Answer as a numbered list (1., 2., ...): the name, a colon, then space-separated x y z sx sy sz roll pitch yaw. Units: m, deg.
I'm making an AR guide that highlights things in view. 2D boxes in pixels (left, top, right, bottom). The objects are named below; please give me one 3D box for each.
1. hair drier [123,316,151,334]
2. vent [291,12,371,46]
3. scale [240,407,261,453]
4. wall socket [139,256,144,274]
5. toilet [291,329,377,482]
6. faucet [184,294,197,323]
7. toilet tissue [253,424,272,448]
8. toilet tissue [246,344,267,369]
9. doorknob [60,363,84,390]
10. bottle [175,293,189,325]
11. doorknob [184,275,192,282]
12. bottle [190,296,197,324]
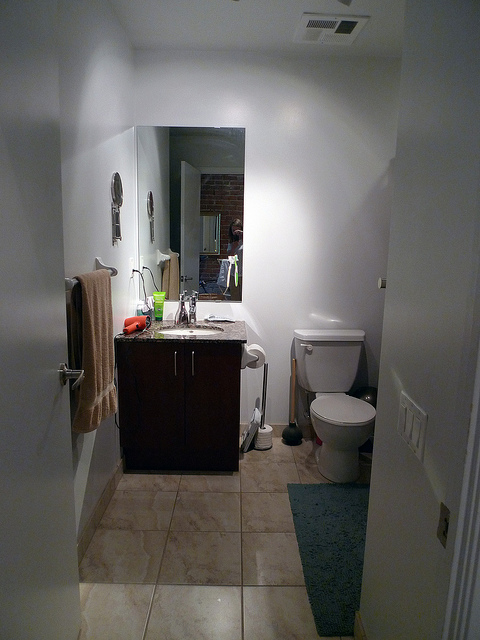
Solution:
1. hair drier: -0.549 0.025 2.498 0.121 0.070 0.157 3 37 -17
2. vent: 0.431 -1.408 2.250 0.314 0.058 0.378 0 9 -2
3. scale: 0.065 0.655 2.820 0.034 0.198 0.174 17 -21 -2
4. wall socket: -0.584 -0.330 2.769 0.030 0.099 0.029 -2 7 -21
5. toilet: 0.533 0.472 2.595 0.297 0.790 0.642 0 6 0
6. faucet: -0.281 -0.067 2.751 0.037 0.157 0.091 -1 7 -8
7. toilet tissue: 0.137 0.700 2.844 0.085 0.128 0.096 9 18 21
8. toilet tissue: 0.093 0.199 2.711 0.096 0.112 0.379 0 9 2
9. doorknob: -0.452 0.144 1.262 0.047 0.092 0.052 0 9 -7
10. bottle: -0.342 -0.067 2.751 0.076 0.168 0.113 -1 7 -11
11. doorknob: -0.321 -0.261 2.878 0.041 0.064 0.016 0 18 -1
12. bottle: -0.274 -0.057 2.720 0.040 0.160 0.028 -3 7 -23
